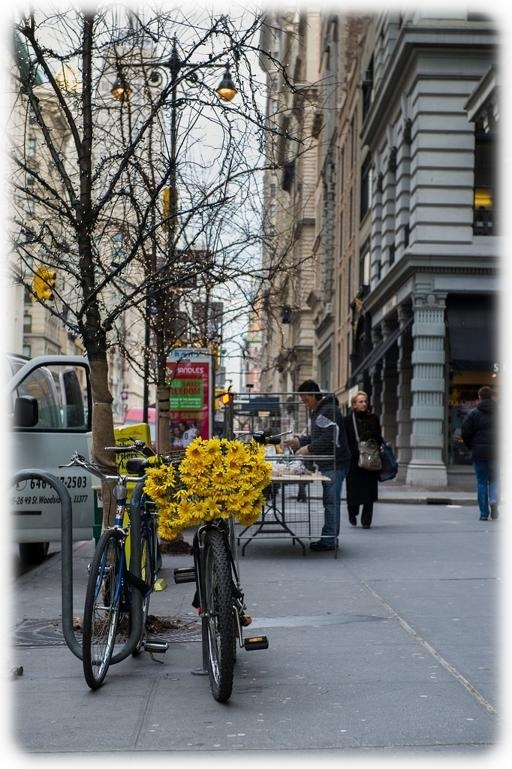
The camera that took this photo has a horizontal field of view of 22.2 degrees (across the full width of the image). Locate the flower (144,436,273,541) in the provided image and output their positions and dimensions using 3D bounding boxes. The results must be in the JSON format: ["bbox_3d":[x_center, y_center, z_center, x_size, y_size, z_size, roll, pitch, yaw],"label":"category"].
[{"bbox_3d":[-0.267,0.619,8.370,0.788,0.656,0.707,-3,0,-34],"label":"flower"}]

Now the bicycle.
[{"bbox_3d":[-0.591,1.074,8.114,1.205,1.502,1.923,3,0,-14],"label":"bicycle"}]

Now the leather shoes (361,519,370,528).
[{"bbox_3d":[1.370,1.734,16.299,0.056,0.079,0.180,0,-23,7],"label":"leather shoes"}]

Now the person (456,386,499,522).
[{"bbox_3d":[2.966,0.898,17.314,0.512,1.787,1.158,3,0,9],"label":"person"}]

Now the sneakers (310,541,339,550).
[{"bbox_3d":[0.709,1.674,13.713,0.260,0.114,0.117,-1,4,0],"label":"sneakers"}]

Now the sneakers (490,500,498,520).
[{"bbox_3d":[3.072,1.615,16.818,0.070,0.226,0.086,-4,7,9],"label":"sneakers"}]

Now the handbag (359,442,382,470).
[{"bbox_3d":[1.380,0.875,15.893,0.254,0.324,0.171,6,-20,-18],"label":"handbag"}]

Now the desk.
[{"bbox_3d":[0.305,1.353,13.916,1.072,0.817,0.899,-4,12,3],"label":"desk"}]
